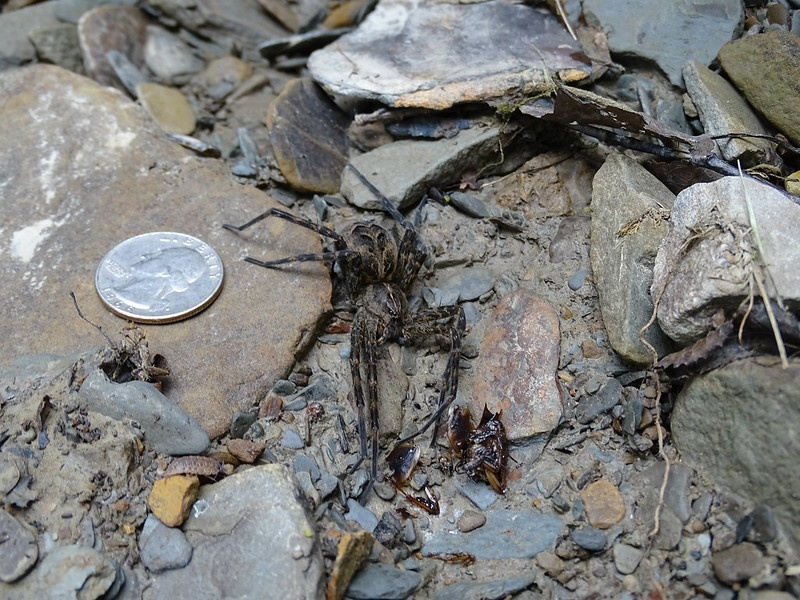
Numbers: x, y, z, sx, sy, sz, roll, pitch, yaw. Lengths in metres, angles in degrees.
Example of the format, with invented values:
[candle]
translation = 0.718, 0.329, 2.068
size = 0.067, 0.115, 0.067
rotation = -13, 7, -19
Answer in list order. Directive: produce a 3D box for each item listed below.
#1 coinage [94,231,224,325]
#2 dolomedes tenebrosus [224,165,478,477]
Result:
[coinage]
translation = -1.297, -0.133, 4.189
size = 0.643, 0.122, 0.505
rotation = -10, 61, -9
[dolomedes tenebrosus]
translation = -0.232, -0.044, 4.465
size = 1.176, 0.501, 2.313
rotation = 17, 39, -29
